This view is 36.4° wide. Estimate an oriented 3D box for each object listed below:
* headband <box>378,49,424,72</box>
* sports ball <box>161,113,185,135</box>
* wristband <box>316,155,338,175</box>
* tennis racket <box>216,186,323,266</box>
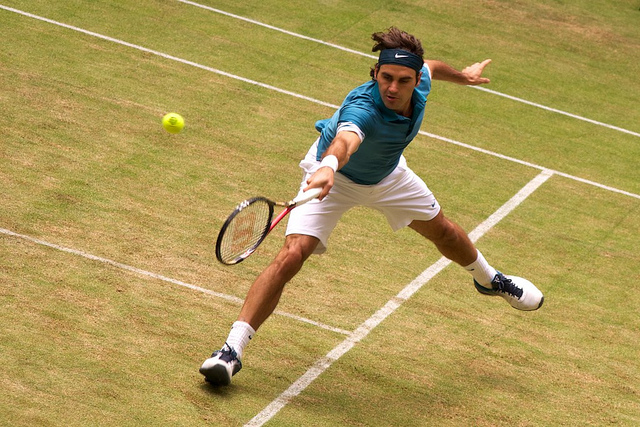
[{"bbox_3d":[0.759,-1.447,9.171,0.413,0.199,0.218,14,13,-1],"label":"headband"},{"bbox_3d":[-1.810,-1.123,12.173,0.353,0.249,0.295,-1,32,-4],"label":"sports ball"},{"bbox_3d":[0.073,-0.436,8.746,0.154,0.151,0.169,36,1,-2],"label":"wristband"},{"bbox_3d":[-0.532,0.075,9.328,0.121,0.543,1.381,53,34,-15],"label":"tennis racket"}]
